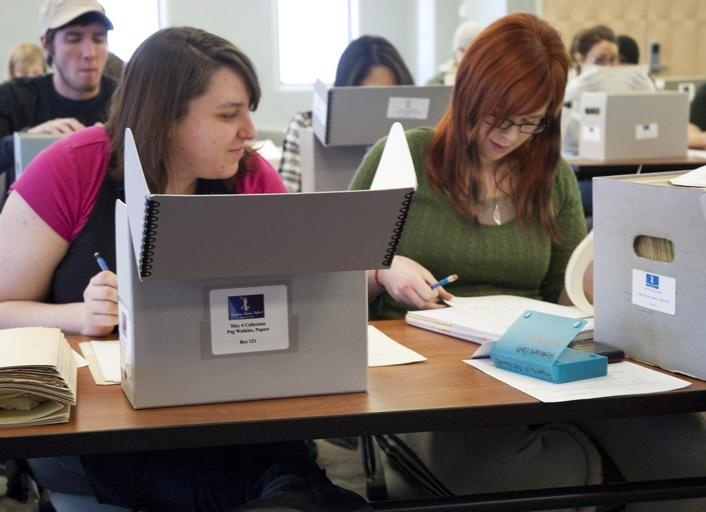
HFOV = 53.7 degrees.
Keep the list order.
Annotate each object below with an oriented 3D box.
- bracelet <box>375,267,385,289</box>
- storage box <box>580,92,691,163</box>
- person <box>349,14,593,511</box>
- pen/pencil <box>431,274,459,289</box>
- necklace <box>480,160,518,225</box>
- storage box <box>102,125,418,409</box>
[{"bbox_3d":[0.080,0.063,1.927,0.040,0.032,0.041,-2,13,5],"label":"bracelet"},{"bbox_3d":[1.688,-0.782,4.212,0.580,0.374,0.323,-5,11,-13],"label":"storage box"},{"bbox_3d":[0.399,0.075,1.992,0.679,1.438,0.835,2,11,-5],"label":"person"},{"bbox_3d":[0.256,0.069,1.920,0.016,0.021,0.120,14,-20,-29],"label":"pen/pencil"},{"bbox_3d":[0.432,-0.178,2.080,0.163,0.163,0.039,1,1,-22],"label":"necklace"},{"bbox_3d":[-0.173,0.021,1.294,0.492,0.517,0.408,-3,8,-26],"label":"storage box"}]
